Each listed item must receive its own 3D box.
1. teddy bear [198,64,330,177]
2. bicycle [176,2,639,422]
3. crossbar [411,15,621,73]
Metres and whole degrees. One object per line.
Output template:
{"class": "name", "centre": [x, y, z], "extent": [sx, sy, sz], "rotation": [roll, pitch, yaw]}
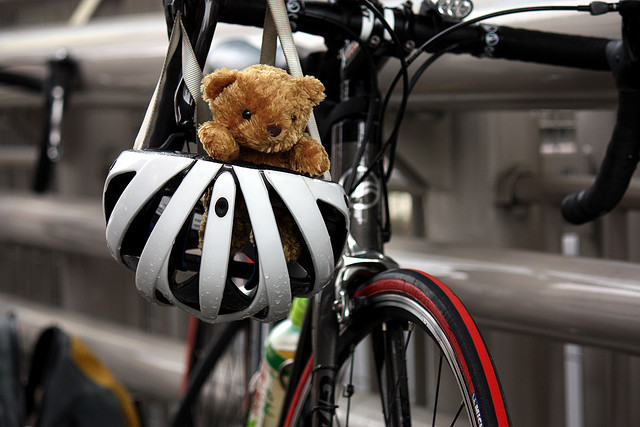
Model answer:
{"class": "teddy bear", "centre": [-0.085, -0.136, 1.009], "extent": [0.182, 0.172, 0.119], "rotation": [1, 2, -16]}
{"class": "bicycle", "centre": [0.129, 0.033, 1.514], "extent": [0.518, 0.880, 1.190], "rotation": [6, -6, -22]}
{"class": "crossbar", "centre": [0.316, -0.284, 1.122], "extent": [0.328, 0.086, 0.090], "rotation": [4, 5, 13]}
